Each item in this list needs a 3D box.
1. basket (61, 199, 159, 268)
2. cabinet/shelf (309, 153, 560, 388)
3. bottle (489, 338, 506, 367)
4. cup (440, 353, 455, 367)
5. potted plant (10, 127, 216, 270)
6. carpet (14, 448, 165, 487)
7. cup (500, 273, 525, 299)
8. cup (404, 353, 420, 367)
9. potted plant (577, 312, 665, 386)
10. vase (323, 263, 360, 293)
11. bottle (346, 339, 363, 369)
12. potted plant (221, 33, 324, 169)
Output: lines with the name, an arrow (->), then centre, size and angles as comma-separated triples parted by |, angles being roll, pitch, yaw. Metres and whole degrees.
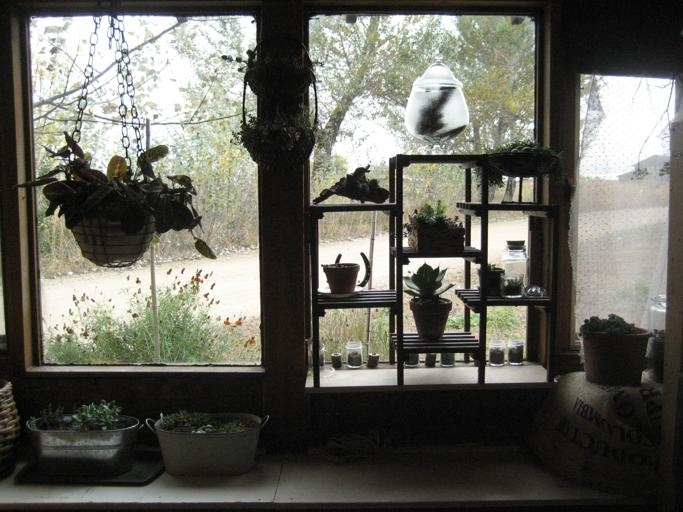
basket -> -0.995, -0.099, 2.872 | 0.246, 0.207, 0.273 | 2, 8, 9
cabinet/shelf -> 0.474, 0.059, 3.455 | 1.135, 1.123, 0.359 | 0, 4, -1
bottle -> 0.823, 0.520, 3.559 | 0.110, 0.163, 0.116 | -1, -1, 0
cup -> 0.562, 0.555, 3.564 | 0.080, 0.090, 0.078 | 0, -3, 0
potted plant -> -0.952, -0.173, 2.887 | 0.630, 0.458, 0.690 | 3, -4, -19
carpet -> -1.233, 1.065, 3.294 | 0.696, 0.079, 0.207 | -2, 2, 0
cup -> 0.864, 0.153, 3.417 | 0.096, 0.110, 0.097 | 1, 6, 0
cup -> 0.375, 0.552, 3.564 | 0.080, 0.094, 0.082 | 2, -6, 0
potted plant -> 1.326, 0.451, 3.211 | 0.314, 0.287, 0.301 | -1, -5, 4
vase -> -0.001, 0.105, 3.394 | 0.147, 0.119, 0.155 | 0, 2, -2
bottle -> 0.067, 0.524, 3.568 | 0.117, 0.171, 0.119 | 0, -1, 0
potted plant -> -0.339, -0.751, 3.298 | 0.434, 0.675, 0.466 | -2, 2, -1
